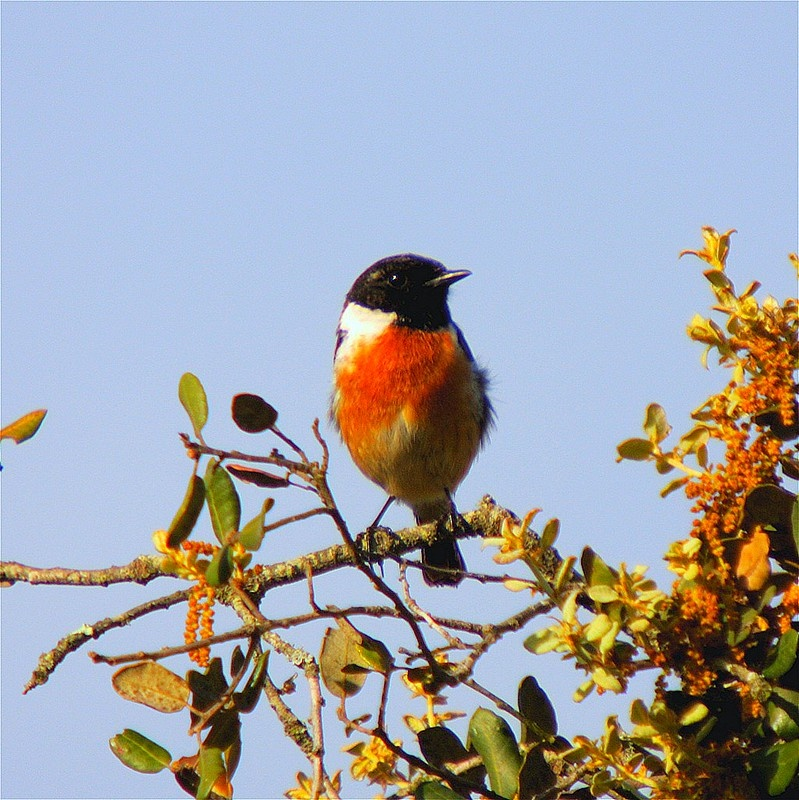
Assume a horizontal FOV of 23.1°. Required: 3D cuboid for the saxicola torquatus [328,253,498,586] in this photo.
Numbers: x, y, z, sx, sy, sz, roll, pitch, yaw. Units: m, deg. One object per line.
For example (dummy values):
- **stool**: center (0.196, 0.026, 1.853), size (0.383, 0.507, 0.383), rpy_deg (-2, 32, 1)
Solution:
- **saxicola torquatus**: center (0.054, 0.030, 7.380), size (0.516, 1.079, 1.230), rpy_deg (-2, -91, 4)
